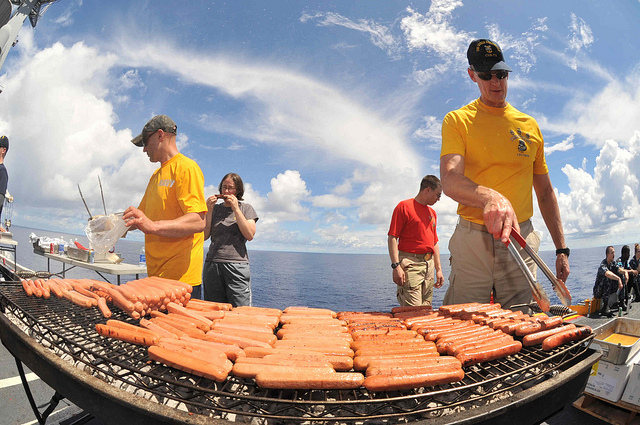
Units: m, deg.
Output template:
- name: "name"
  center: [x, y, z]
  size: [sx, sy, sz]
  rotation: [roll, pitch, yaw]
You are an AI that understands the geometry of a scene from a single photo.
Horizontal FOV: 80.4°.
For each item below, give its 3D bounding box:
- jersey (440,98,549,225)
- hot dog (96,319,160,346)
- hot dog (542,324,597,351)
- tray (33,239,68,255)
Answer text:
- name: "jersey"
  center: [1.916, -0.548, 4.126]
  size: [1.305, 1.315, 0.635]
  rotation: [-1, 5, -11]
- name: "hot dog"
  center: [-1.524, 0.923, 2.981]
  size: [0.558, 0.132, 0.122]
  rotation: [4, -37, 11]
- name: "hot dog"
  center: [2.038, 1.034, 3.104]
  size: [0.475, 0.102, 0.086]
  rotation: [-15, 1, -26]
- name: "tray"
  center: [-7.069, 0.955, 9.835]
  size: [0.620, 0.155, 0.673]
  rotation: [10, -7, -42]
